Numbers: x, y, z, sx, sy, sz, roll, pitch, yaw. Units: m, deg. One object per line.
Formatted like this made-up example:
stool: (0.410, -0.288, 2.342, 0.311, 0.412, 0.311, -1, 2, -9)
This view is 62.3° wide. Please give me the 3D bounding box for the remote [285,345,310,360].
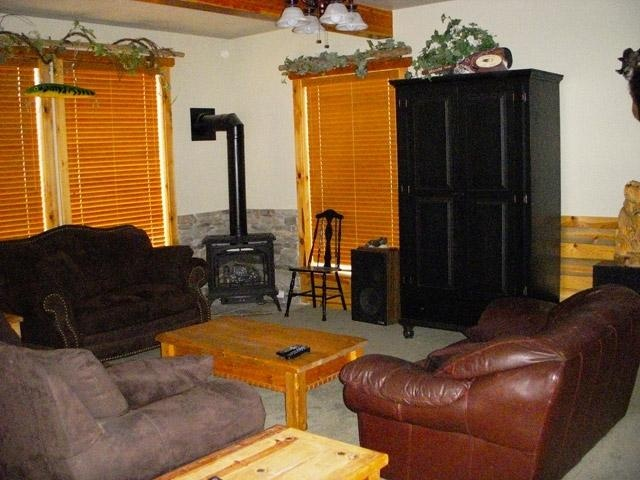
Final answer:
remote: (-0.151, 0.736, 3.492, 0.055, 0.067, 0.187, -3, -3, 42)
